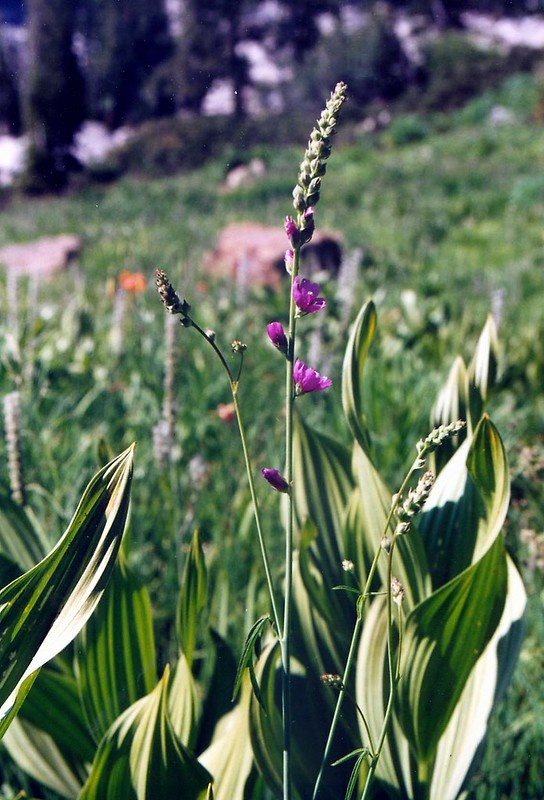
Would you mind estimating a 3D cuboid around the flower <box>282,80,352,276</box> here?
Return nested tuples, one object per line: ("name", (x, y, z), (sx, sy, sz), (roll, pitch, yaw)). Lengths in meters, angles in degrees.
("flower", (0.048, -0.229, 0.965), (0.079, 0.206, 0.239), (-5, 15, 4))

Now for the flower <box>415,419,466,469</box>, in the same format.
("flower", (0.203, 0.054, 1.056), (0.088, 0.036, 0.024), (-31, -9, 35))

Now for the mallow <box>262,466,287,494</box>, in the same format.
("mallow", (0.002, 0.076, 0.893), (0.015, 0.039, 0.015), (-17, 40, 14))

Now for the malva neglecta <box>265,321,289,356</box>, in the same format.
("malva neglecta", (0.005, -0.068, 0.893), (0.013, 0.044, 0.015), (-5, 11, 19))
